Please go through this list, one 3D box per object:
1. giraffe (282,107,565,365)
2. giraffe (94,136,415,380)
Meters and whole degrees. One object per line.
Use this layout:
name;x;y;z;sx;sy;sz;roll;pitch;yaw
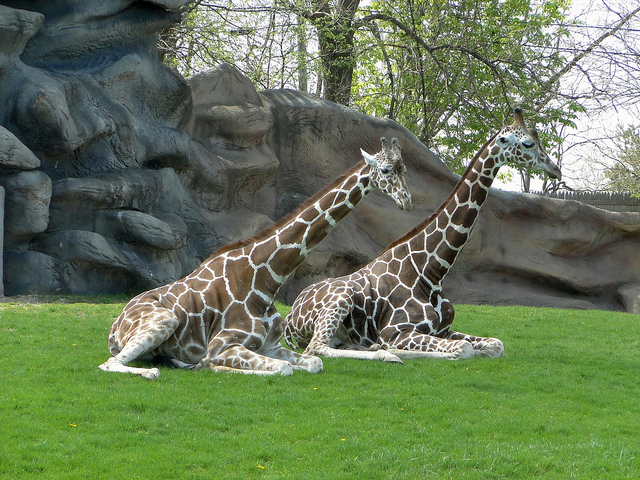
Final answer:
giraffe;1.702;0.052;19.988;4.818;4.238;2.603;-6;-5;17
giraffe;-1.032;0.413;18.628;4.816;4.171;3.320;0;-7;16
